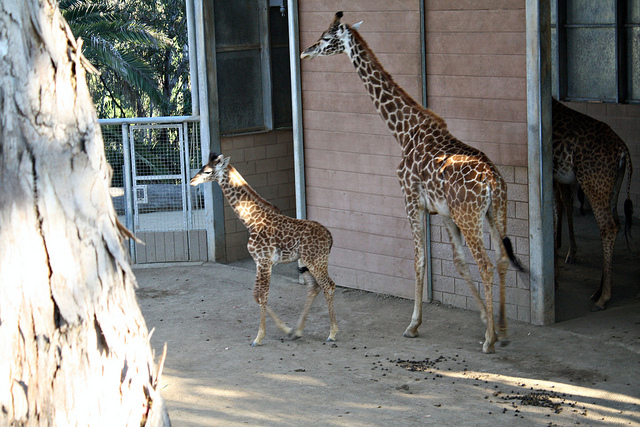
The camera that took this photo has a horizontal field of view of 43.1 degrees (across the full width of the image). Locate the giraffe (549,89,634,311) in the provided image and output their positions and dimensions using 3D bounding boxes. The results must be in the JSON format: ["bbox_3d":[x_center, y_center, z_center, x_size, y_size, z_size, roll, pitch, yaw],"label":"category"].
[{"bbox_3d":[3.527,-0.414,10.559,1.042,2.514,3.767,2,11,17],"label":"giraffe"}]

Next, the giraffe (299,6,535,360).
[{"bbox_3d":[0.823,-0.640,9.611,3.465,3.669,1.496,8,12,39],"label":"giraffe"}]
